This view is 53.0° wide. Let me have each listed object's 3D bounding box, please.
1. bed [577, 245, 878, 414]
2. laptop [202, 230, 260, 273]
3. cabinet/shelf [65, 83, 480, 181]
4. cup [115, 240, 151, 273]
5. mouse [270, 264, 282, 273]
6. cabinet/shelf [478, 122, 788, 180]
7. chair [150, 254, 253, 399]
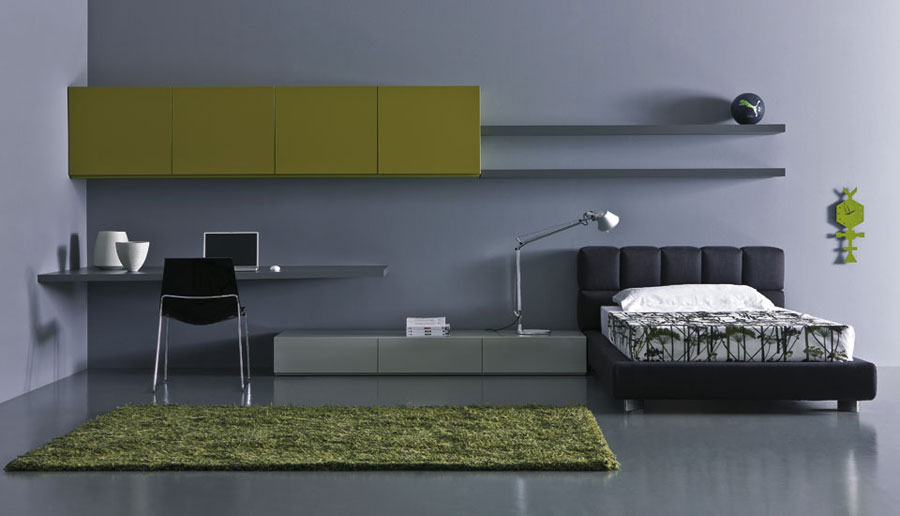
[{"bbox_3d":[2.516,0.730,9.337,2.016,0.988,1.985,0,-4,2],"label":"bed"},{"bbox_3d":[-2.268,-0.096,9.374,0.716,0.452,0.368,1,2,-5],"label":"laptop"},{"bbox_3d":[-1.780,-1.310,9.448,4.248,0.895,0.461,0,3,3],"label":"cabinet/shelf"},{"bbox_3d":[-3.220,-0.021,9.159,0.338,0.297,0.316,1,-1,0],"label":"cup"},{"bbox_3d":[-1.784,0.113,9.227,0.083,0.045,0.135,-1,2,-38],"label":"mouse"},{"bbox_3d":[1.896,-1.112,9.436,3.129,0.566,0.347,-1,0,-1],"label":"cabinet/shelf"},{"bbox_3d":[-2.517,0.662,9.197,0.976,1.153,1.101,0,0,-15],"label":"chair"}]
